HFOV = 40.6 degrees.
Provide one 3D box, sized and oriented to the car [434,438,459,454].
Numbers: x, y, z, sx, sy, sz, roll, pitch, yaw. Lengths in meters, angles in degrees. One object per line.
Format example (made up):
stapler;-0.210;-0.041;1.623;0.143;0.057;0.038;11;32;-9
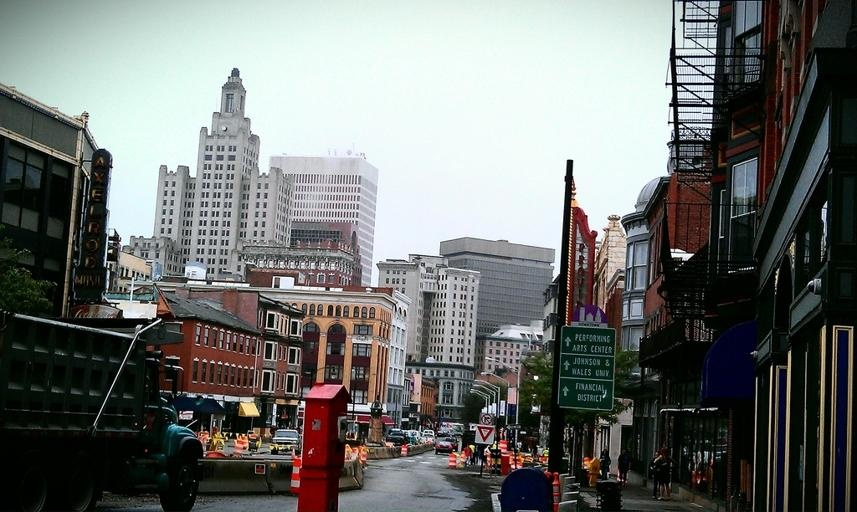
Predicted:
car;1.423;15.648;97.152;1.712;1.746;3.060;2;-18;-2
